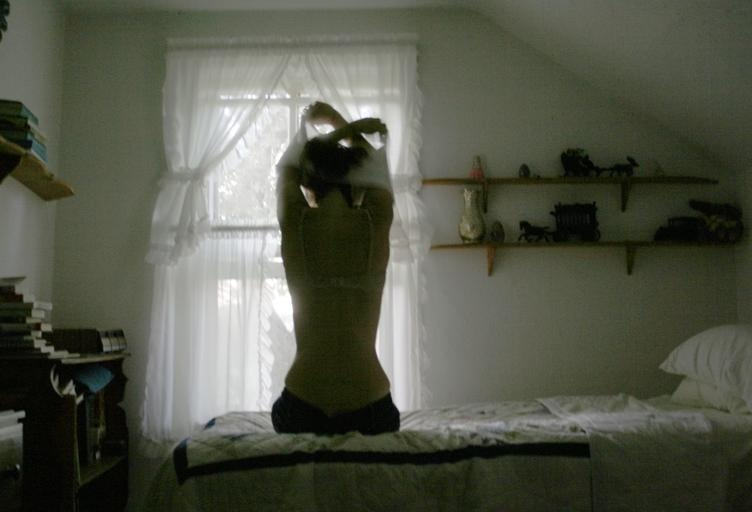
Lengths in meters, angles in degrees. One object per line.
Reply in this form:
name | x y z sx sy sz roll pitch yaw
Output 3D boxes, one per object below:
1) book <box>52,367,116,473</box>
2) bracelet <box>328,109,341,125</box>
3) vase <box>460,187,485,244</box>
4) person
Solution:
book | -1.733 0.971 4.191 0.176 0.572 0.430 0 -2 21
bracelet | -0.197 -0.674 3.360 0.051 0.071 0.019 -27 21 -10
vase | 0.640 -0.269 4.591 0.154 0.355 0.128 -1 -2 21
person | -0.185 0.043 3.269 0.589 1.567 0.213 0 -2 -11
